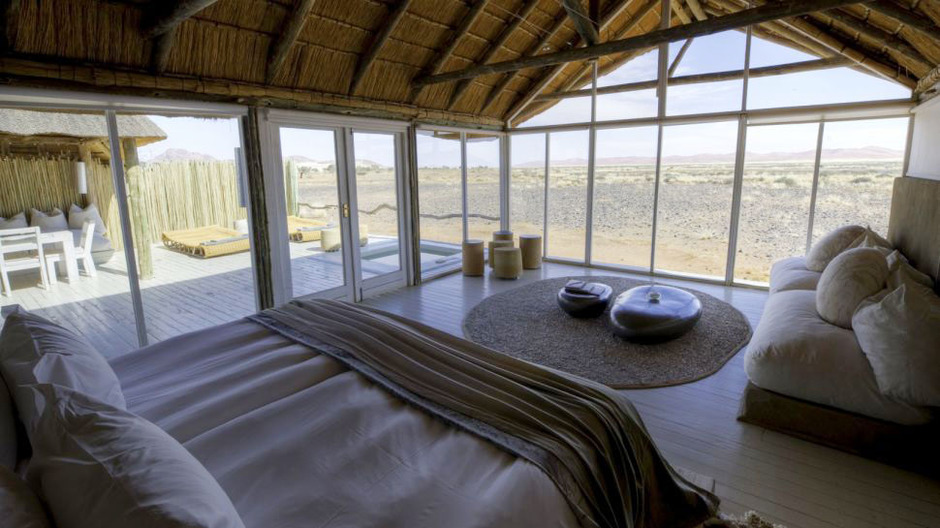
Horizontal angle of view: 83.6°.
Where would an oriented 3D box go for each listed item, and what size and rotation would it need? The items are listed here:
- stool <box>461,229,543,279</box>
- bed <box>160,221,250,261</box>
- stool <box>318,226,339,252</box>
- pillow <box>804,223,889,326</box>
[{"bbox_3d":[0.650,-0.207,9.963,1.100,0.765,1.337,12,17,37],"label":"stool"},{"bbox_3d":[-4.433,-0.391,8.788,1.085,0.256,0.839,13,18,33],"label":"bed"},{"bbox_3d":[-2.180,-0.407,8.223,0.382,0.341,0.351,-2,11,-13],"label":"stool"},{"bbox_3d":[4.373,0.142,6.113,0.506,0.419,1.327,33,39,26],"label":"pillow"}]
